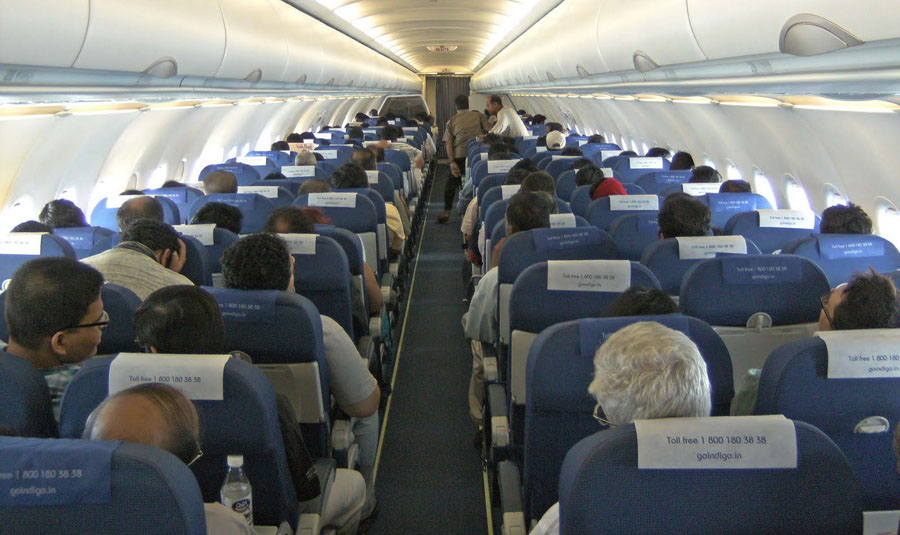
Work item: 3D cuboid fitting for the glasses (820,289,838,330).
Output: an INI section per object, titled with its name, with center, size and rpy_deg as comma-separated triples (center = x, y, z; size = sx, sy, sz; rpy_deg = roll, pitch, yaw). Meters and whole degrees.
[glasses]
center = 2.310, 0.262, 4.653
size = 0.065, 0.203, 0.203
rpy_deg = 3, -1, 37

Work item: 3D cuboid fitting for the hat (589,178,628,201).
[hat]
center = 1.832, -0.914, 8.894
size = 0.305, 0.224, 0.422
rpy_deg = -3, 2, 4

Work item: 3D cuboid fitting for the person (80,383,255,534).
[person]
center = -1.421, 0.999, 3.883
size = 0.748, 0.736, 0.278
rpy_deg = -5, 3, -14

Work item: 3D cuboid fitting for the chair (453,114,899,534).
[chair]
center = 1.205, 0.069, 6.622
size = 2.551, 1.883, 3.857
rpy_deg = -1, 14, -2
